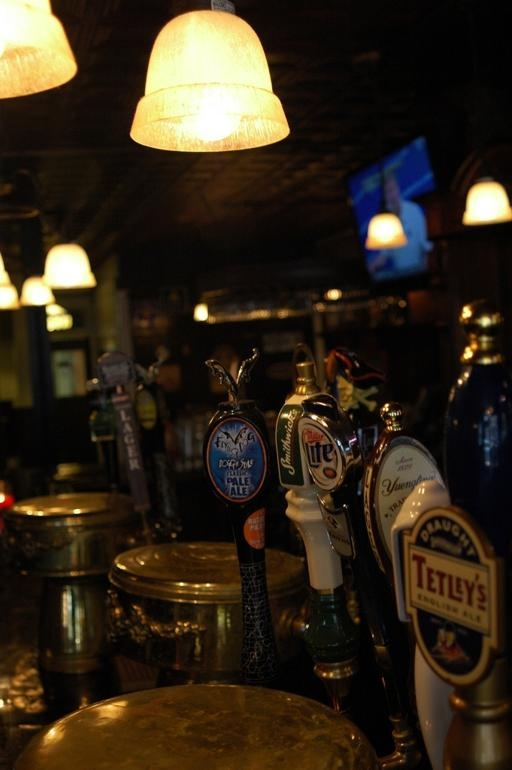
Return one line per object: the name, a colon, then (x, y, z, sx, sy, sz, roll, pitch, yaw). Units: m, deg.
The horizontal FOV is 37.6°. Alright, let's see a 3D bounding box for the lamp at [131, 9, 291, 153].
lamp: (-0.071, -0.438, 1.089, 0.213, 0.158, 0.242, -6, 3, 17)
